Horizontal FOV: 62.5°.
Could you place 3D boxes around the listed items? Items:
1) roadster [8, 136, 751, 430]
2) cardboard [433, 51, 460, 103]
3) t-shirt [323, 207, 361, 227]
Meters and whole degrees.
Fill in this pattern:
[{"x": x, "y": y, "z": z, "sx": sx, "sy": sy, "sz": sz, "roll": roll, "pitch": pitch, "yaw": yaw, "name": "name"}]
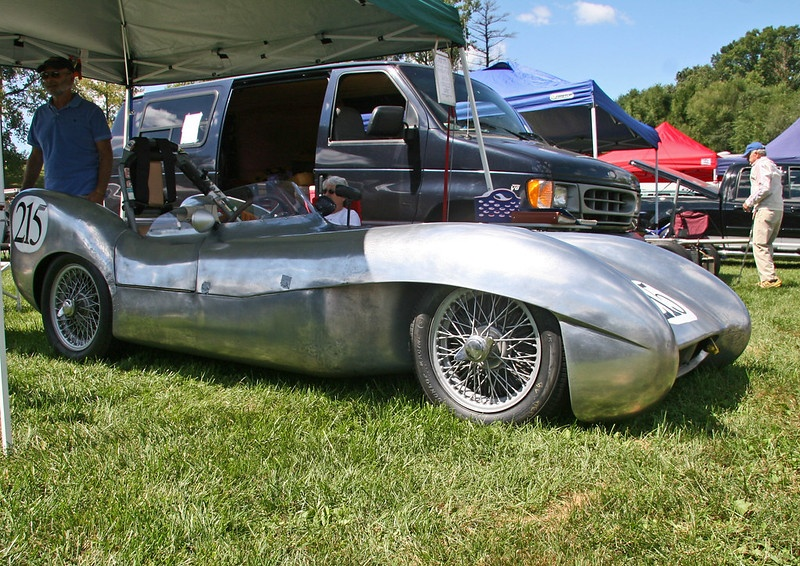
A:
[{"x": -0.207, "y": -0.060, "z": 4.583, "sx": 4.268, "sy": 1.416, "sz": 2.107, "roll": 0, "pitch": 3, "yaw": 26, "name": "roadster"}, {"x": 0.359, "y": -1.654, "z": 5.332, "sx": 0.165, "sy": 0.442, "sz": 0.393, "roll": 1, "pitch": 12, "yaw": 4, "name": "cardboard"}, {"x": -0.417, "y": -0.474, "z": 4.790, "sx": 0.242, "sy": 0.094, "sz": 0.242, "roll": 0, "pitch": -1, "yaw": -36, "name": "t-shirt"}]
